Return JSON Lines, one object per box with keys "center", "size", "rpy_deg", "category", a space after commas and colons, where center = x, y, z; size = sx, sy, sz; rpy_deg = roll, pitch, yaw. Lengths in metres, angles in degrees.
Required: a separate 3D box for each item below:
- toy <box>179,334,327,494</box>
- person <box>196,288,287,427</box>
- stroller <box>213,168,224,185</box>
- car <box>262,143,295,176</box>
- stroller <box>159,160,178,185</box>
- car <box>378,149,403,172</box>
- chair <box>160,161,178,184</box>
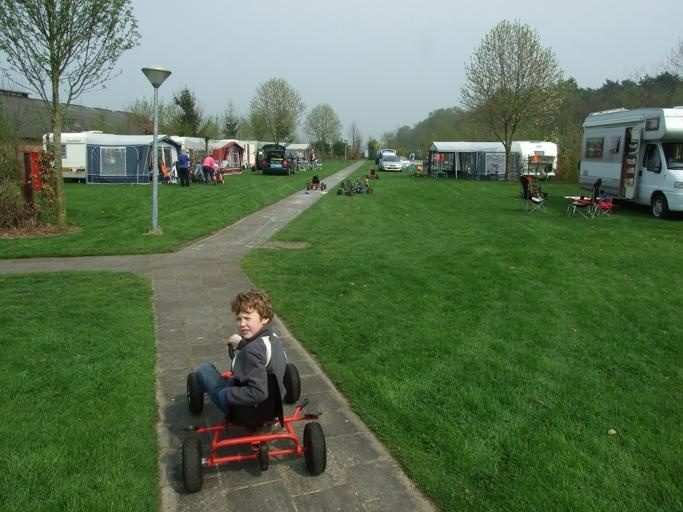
{"center": [-1.012, 1.824, 6.538], "size": [1.074, 1.137, 1.669], "rpy_deg": [-1, 14, -15], "category": "toy"}
{"center": [-0.999, 1.047, 6.124], "size": [0.670, 1.342, 0.957], "rpy_deg": [-10, 15, -36], "category": "person"}
{"center": [-6.684, -4.342, 32.120], "size": [0.620, 0.724, 1.029], "rpy_deg": [-1, 3, -12], "category": "stroller"}
{"center": [-4.433, -6.755, 41.803], "size": [1.654, 2.194, 4.416], "rpy_deg": [1, 15, 3], "category": "car"}
{"center": [-9.033, -4.336, 30.980], "size": [1.209, 1.516, 0.864], "rpy_deg": [1, 9, 2], "category": "stroller"}
{"center": [4.147, -7.989, 50.011], "size": [1.392, 1.525, 2.905], "rpy_deg": [-1, 12, -3], "category": "car"}
{"center": [-9.046, -4.375, 30.922], "size": [1.037, 1.307, 0.949], "rpy_deg": [1, 9, 5], "category": "chair"}
